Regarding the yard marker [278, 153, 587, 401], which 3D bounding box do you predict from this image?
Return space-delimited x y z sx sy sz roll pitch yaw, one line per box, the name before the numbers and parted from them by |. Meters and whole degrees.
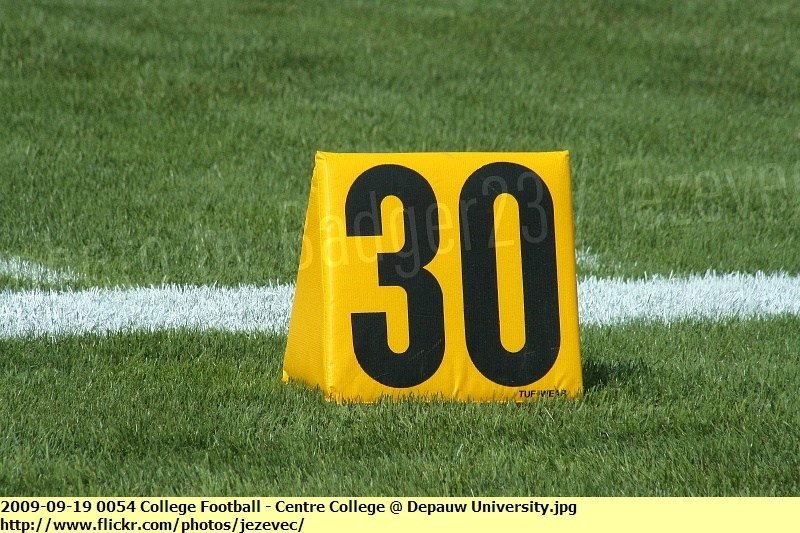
yard marker | 0.381 -0.245 14.407 2.616 2.254 2.415 0 99 -5
